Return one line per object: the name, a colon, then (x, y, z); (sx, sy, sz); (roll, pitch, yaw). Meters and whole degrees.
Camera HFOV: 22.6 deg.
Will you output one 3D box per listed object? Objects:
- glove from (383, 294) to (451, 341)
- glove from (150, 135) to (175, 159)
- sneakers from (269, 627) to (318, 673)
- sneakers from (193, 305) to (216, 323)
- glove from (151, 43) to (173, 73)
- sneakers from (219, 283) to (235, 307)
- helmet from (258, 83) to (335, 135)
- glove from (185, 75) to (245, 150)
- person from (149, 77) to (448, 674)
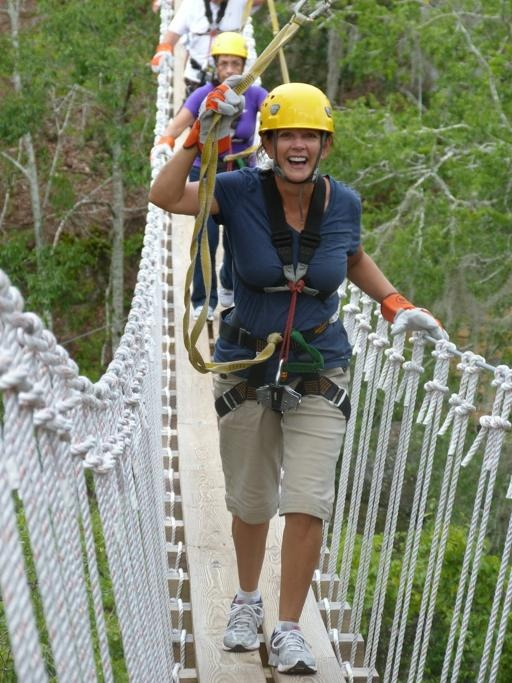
glove: (0.599, -0.062, 4.901); (0.247, 0.151, 0.102); (28, -14, -4)
glove: (-0.481, -0.984, 6.647); (0.153, 0.049, 0.105); (-4, 24, -14)
sneakers: (0.130, 1.096, 4.489); (0.110, 0.094, 0.215); (3, -9, -15)
sneakers: (-0.280, -0.121, 6.716); (0.088, 0.086, 0.218); (0, -5, -3)
glove: (-0.651, -1.823, 8.460); (0.160, 0.200, 0.081); (16, -13, 35)
sneakers: (-0.162, -0.203, 6.508); (0.070, 0.077, 0.196); (6, 12, -1)
helmet: (0.137, -0.785, 4.423); (0.178, 0.155, 0.221); (1, 5, -3)
glove: (-0.140, -0.767, 4.424); (0.189, 0.266, 0.105); (2, 19, -22)
person: (0.033, 0.112, 4.629); (0.926, 2.006, 0.736); (15, 18, 16)
